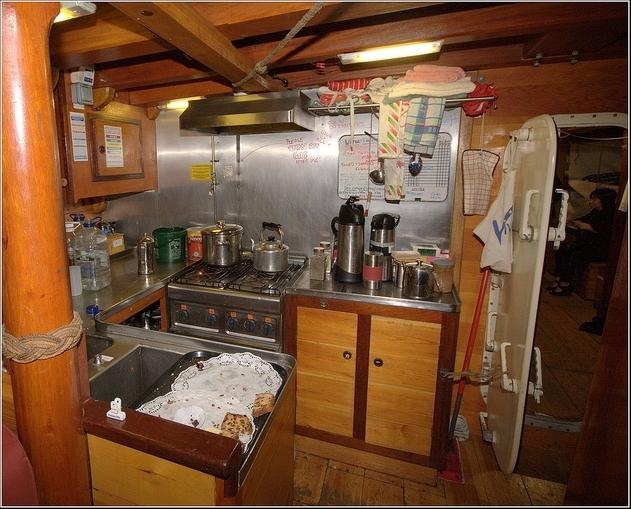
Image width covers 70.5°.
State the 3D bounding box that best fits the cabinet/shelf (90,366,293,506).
[{"bbox_3d":[-0.403,0.666,1.717,0.668,0.426,0.738,6,9,8],"label":"cabinet/shelf"}]

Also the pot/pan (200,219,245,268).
[{"bbox_3d":[-0.656,-0.090,3.131,0.282,0.290,0.272,12,21,29],"label":"pot/pan"}]

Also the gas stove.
[{"bbox_3d":[-0.509,0.332,2.970,0.827,0.478,0.504,2,10,17],"label":"gas stove"}]

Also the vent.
[{"bbox_3d":[-0.443,-0.944,2.960,0.870,0.236,0.497,2,9,19],"label":"vent"}]

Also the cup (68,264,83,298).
[{"bbox_3d":[-1.402,0.155,2.606,0.057,0.168,0.110,-7,11,-30],"label":"cup"}]

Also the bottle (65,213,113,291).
[{"bbox_3d":[-1.407,-0.004,2.767,0.300,0.560,0.233,17,15,36],"label":"bottle"}]

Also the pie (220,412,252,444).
[{"bbox_3d":[-0.267,0.590,1.521,0.081,0.021,0.075,5,16,-23],"label":"pie"}]

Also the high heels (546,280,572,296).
[{"bbox_3d":[2.880,0.405,5.230,0.122,0.074,0.210,-31,22,-33],"label":"high heels"}]

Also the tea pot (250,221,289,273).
[{"bbox_3d":[-0.299,-0.059,3.008,0.274,0.348,0.319,7,12,5],"label":"tea pot"}]

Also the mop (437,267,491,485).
[{"bbox_3d":[0.824,0.767,2.748,0.302,1.324,0.333,9,13,8],"label":"mop"}]

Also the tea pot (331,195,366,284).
[{"bbox_3d":[0.210,-0.063,2.768,0.184,0.484,0.159,0,10,5],"label":"tea pot"}]

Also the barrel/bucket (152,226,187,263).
[{"bbox_3d":[-1.044,-0.073,3.250,0.264,0.245,0.241,2,13,0],"label":"barrel/bucket"}]

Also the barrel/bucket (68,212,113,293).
[{"bbox_3d":[-1.395,-0.010,2.768,0.246,0.478,0.189,18,16,38],"label":"barrel/bucket"}]

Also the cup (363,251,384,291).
[{"bbox_3d":[0.351,0.103,2.678,0.115,0.217,0.082,-1,10,0],"label":"cup"}]
